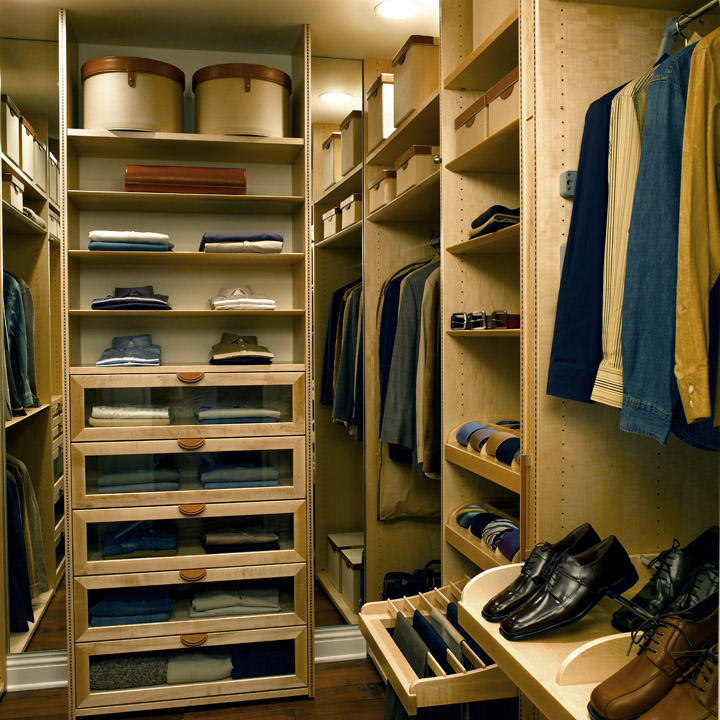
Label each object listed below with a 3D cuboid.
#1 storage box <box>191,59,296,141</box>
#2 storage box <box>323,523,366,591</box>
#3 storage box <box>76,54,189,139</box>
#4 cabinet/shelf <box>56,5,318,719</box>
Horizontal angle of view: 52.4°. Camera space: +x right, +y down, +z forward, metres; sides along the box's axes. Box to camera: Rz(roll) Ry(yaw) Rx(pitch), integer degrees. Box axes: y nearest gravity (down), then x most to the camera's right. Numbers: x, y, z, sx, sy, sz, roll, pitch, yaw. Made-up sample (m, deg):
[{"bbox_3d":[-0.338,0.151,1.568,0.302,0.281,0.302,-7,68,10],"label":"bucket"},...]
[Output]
[{"bbox_3d":[-0.472,-1.024,2.936,0.289,0.212,0.318,1,0,5],"label":"storage box"},{"bbox_3d":[-0.082,0.896,3.358,0.206,0.245,0.232,1,-2,-14],"label":"storage box"},{"bbox_3d":[-0.877,-1.025,2.835,0.371,0.283,0.110,-3,1,-18],"label":"storage box"},{"bbox_3d":[-0.680,0.016,3.026,1.022,2.697,0.398,-2,1,-11],"label":"cabinet/shelf"}]
